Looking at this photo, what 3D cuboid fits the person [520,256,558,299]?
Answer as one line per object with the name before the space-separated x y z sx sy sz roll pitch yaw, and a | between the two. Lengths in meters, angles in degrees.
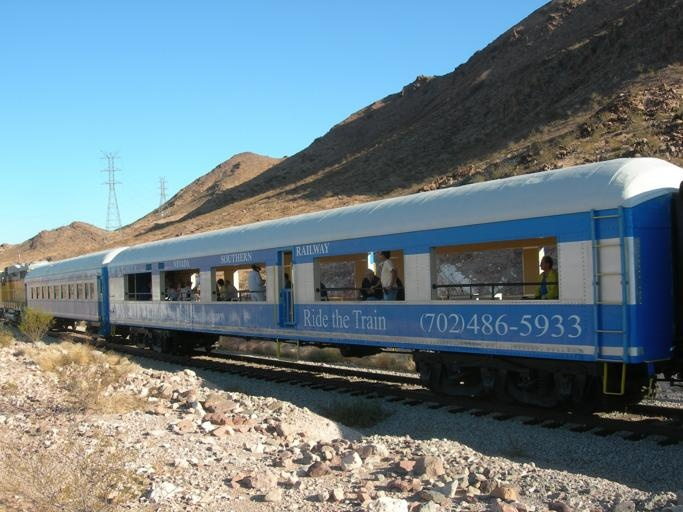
person | 3.730 0.482 11.738 0.832 1.057 0.700 3 -8 8
